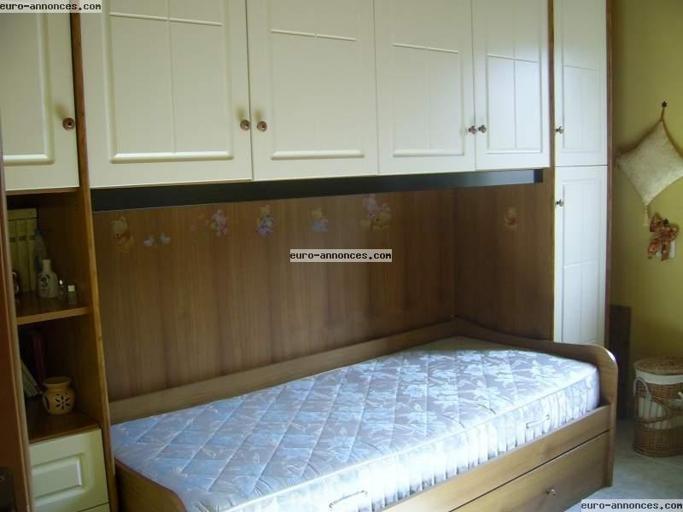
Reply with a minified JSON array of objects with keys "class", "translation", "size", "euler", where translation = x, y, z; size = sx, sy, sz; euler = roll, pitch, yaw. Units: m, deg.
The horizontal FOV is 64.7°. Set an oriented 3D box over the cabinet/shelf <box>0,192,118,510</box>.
[{"class":"cabinet/shelf","translation":[-1.033,0.331,1.977],"size":[0.254,1.141,0.489],"euler":[-6,9,-32]}]
